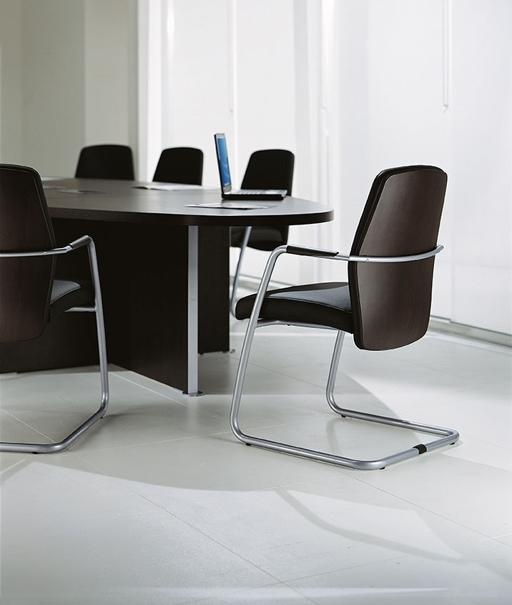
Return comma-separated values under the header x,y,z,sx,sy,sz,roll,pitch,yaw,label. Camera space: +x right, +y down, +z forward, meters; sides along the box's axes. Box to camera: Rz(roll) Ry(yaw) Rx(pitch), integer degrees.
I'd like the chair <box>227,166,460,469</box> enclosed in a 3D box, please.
x,y,z,sx,sy,sz,roll,pitch,yaw,label
0.285,0.014,1.825,0.620,0.797,0.533,4,6,40,chair

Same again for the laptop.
x,y,z,sx,sy,sz,roll,pitch,yaw,label
-0.021,-0.596,2.553,0.336,0.272,0.302,1,17,-7,laptop
